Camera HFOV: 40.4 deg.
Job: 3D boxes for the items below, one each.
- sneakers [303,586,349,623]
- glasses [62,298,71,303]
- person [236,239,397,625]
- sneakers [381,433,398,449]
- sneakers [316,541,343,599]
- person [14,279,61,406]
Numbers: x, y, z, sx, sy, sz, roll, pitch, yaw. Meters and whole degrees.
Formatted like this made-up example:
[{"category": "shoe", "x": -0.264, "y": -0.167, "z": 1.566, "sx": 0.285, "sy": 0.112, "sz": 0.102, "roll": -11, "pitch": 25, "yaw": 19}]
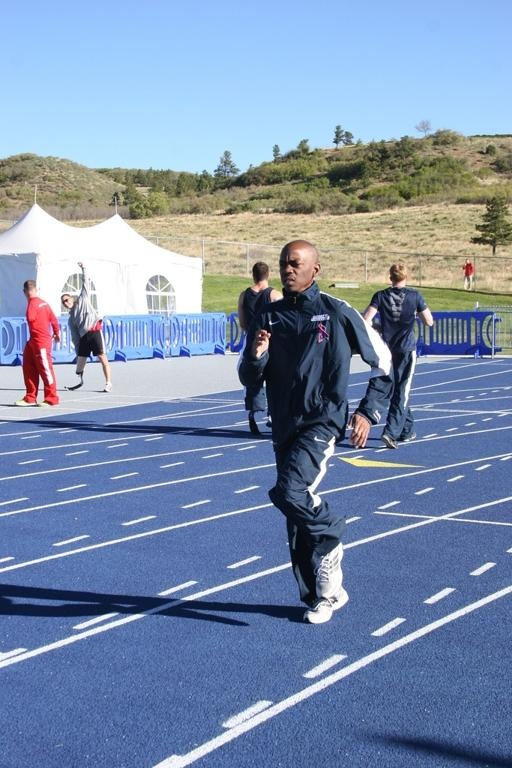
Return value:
[{"category": "sneakers", "x": 0.354, "y": 1.098, "z": 3.455, "sx": 0.094, "sy": 0.105, "sz": 0.272, "roll": -2, "pitch": 0, "yaw": 32}, {"category": "glasses", "x": -3.693, "y": -1.610, "z": 13.550, "sx": 0.123, "sy": 0.102, "sz": 0.097, "roll": -2, "pitch": 6, "yaw": -30}, {"category": "person", "x": 0.287, "y": 0.235, "z": 3.391, "sx": 0.674, "sy": 1.854, "sz": 0.436, "roll": -1, "pitch": 2, "yaw": -3}, {"category": "sneakers", "x": 1.582, "y": 0.703, "z": 8.268, "sx": 0.113, "sy": 0.104, "sz": 0.277, "roll": -10, "pitch": -35, "yaw": 16}, {"category": "sneakers", "x": 0.353, "y": 0.915, "z": 3.415, "sx": 0.098, "sy": 0.312, "sz": 0.129, "roll": -5, "pitch": -13, "yaw": 41}, {"category": "person", "x": -3.698, "y": -0.682, "z": 11.784, "sx": 0.682, "sy": 2.194, "sz": 1.139, "roll": -1, "pitch": 2, "yaw": -18}]
